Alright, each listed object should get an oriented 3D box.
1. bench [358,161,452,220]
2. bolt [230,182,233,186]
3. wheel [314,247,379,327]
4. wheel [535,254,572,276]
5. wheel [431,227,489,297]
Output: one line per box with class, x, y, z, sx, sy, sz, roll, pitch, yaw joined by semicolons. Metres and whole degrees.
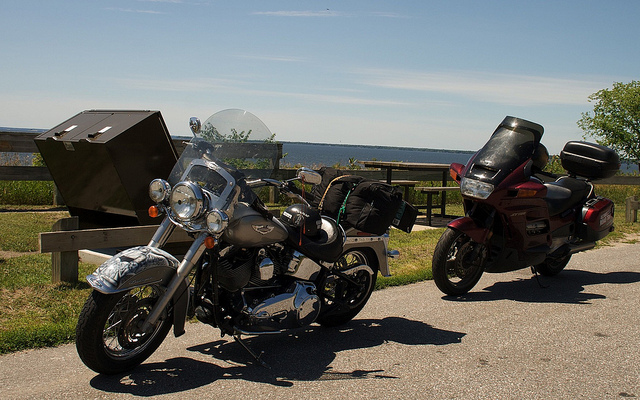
bench;2.934;-0.016;15.235;2.487;1.170;2.388;-4;11;-31
bolt;-0.995;-0.175;5.459;0.028;0.032;0.019;0;12;-8
wheel;0.304;1.190;6.633;1.124;1.105;0.292;-6;14;-35
wheel;4.153;1.172;8.852;0.459;0.441;0.156;10;8;-39
wheel;2.229;0.976;7.837;1.031;1.114;0.320;-4;13;-28
